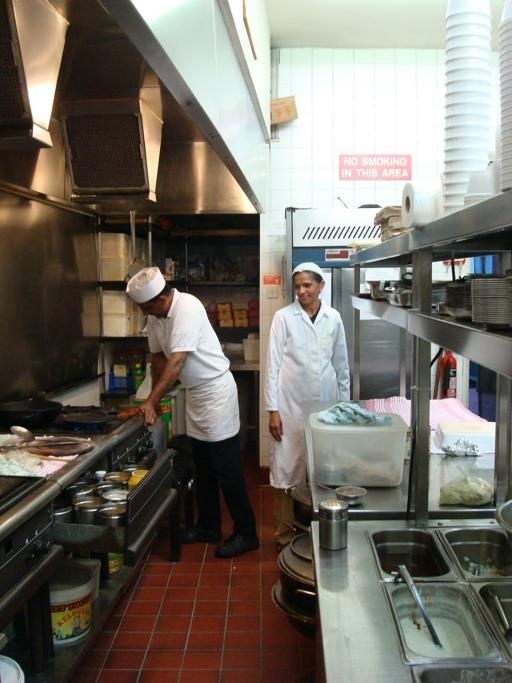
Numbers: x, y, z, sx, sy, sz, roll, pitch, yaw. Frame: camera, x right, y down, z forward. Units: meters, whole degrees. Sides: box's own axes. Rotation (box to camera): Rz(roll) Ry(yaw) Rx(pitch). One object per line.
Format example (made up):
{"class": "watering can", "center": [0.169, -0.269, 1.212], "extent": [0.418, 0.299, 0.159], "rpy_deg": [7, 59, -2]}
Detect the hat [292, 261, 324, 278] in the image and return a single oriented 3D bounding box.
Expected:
{"class": "hat", "center": [0.322, -0.433, 3.250], "extent": [0.164, 0.082, 0.160], "rpy_deg": [2, 8, 9]}

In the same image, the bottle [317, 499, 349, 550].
{"class": "bottle", "center": [0.198, 0.462, 1.372], "extent": [0.077, 0.113, 0.076], "rpy_deg": [-1, 5, 0]}

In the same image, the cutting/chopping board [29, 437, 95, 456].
{"class": "cutting/chopping board", "center": [-0.753, 0.405, 2.097], "extent": [0.236, 0.032, 0.289], "rpy_deg": [-2, 4, -17]}

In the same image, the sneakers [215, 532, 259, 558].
{"class": "sneakers", "center": [-0.098, 1.104, 2.952], "extent": [0.238, 0.091, 0.089], "rpy_deg": [8, -9, -42]}

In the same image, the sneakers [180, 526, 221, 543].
{"class": "sneakers", "center": [-0.312, 1.096, 3.102], "extent": [0.225, 0.086, 0.080], "rpy_deg": [6, -10, -2]}

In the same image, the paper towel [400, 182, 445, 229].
{"class": "paper towel", "center": [0.361, -0.299, 1.190], "extent": [0.066, 0.098, 0.105], "rpy_deg": [2, 16, 7]}

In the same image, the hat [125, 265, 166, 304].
{"class": "hat", "center": [-0.544, -0.280, 2.706], "extent": [0.173, 0.190, 0.168], "rpy_deg": [-1, 4, 1]}

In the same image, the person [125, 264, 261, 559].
{"class": "person", "center": [-0.377, 0.383, 3.003], "extent": [0.736, 1.559, 0.562], "rpy_deg": [-4, 5, -40]}

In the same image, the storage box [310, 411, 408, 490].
{"class": "storage box", "center": [0.318, 0.353, 1.684], "extent": [0.243, 0.144, 0.239], "rpy_deg": [0, 2, 7]}
